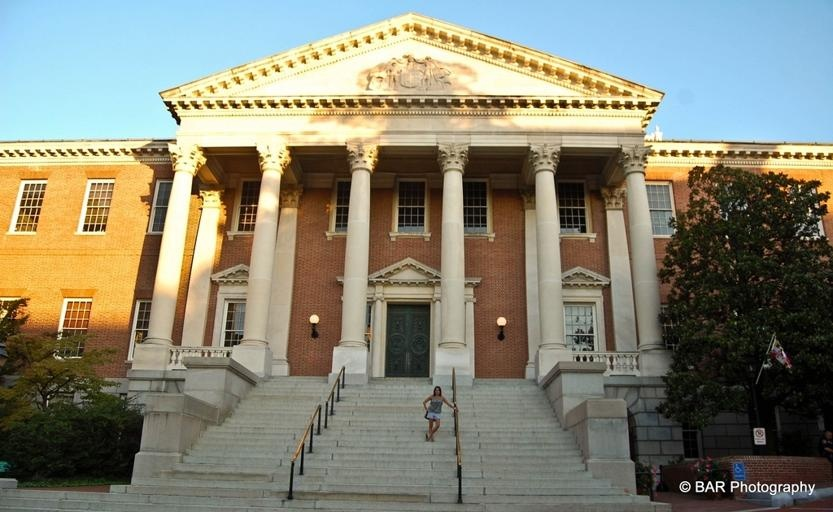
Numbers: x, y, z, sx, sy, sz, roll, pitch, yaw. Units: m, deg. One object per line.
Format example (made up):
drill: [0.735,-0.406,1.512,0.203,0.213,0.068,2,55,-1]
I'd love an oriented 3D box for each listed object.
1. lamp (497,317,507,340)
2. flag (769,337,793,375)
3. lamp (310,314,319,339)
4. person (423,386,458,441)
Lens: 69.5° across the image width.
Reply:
lamp: [4.149,3.525,29.539,0.435,1.149,0.760,1,12,9]
flag: [13.655,3.718,22.600,0.982,1.191,0.565,-10,38,13]
lamp: [-5.094,3.449,29.835,0.492,1.223,0.724,-3,12,-10]
person: [0.758,5.440,21.423,1.050,1.811,1.496,0,11,4]
